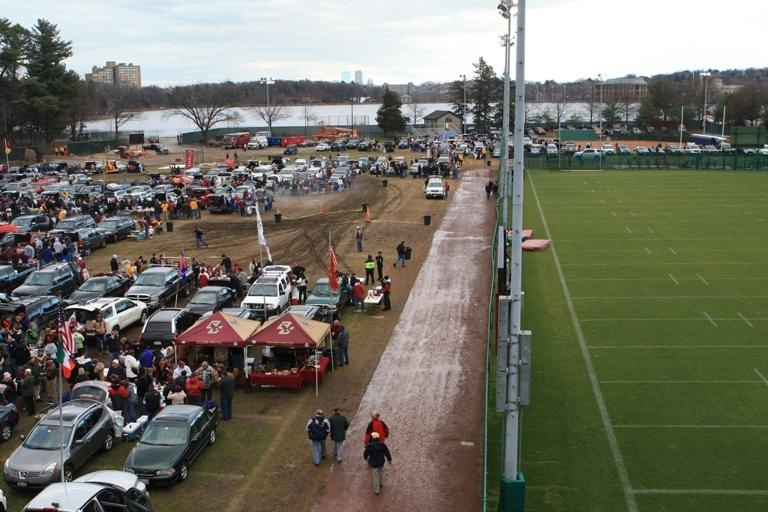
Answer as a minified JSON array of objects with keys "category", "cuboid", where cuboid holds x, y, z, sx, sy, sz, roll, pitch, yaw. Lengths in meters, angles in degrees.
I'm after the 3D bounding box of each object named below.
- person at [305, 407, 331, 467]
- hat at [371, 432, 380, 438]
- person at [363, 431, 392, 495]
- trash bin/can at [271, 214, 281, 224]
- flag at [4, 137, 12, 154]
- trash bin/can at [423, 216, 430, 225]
[{"category":"person","cuboid":[-2.817,7.889,42.032,0.872,2.474,0.535,-11,16,-29]},{"category":"hat","cuboid":[-0.356,7.577,40.591,0.367,0.275,0.207,-4,14,-6]},{"category":"person","cuboid":[-0.311,8.744,40.694,0.986,2.595,0.668,-11,16,-29]},{"category":"trash bin/can","cuboid":[-8.449,-2.837,75.051,0.867,0.759,0.820,0,7,2]},{"category":"flag","cuboid":[-45.472,-13.248,116.036,0.357,1.526,4.251,-19,3,-22]},{"category":"trash bin/can","cuboid":[3.200,-2.699,73.467,0.636,0.613,0.605,1,6,22]}]
